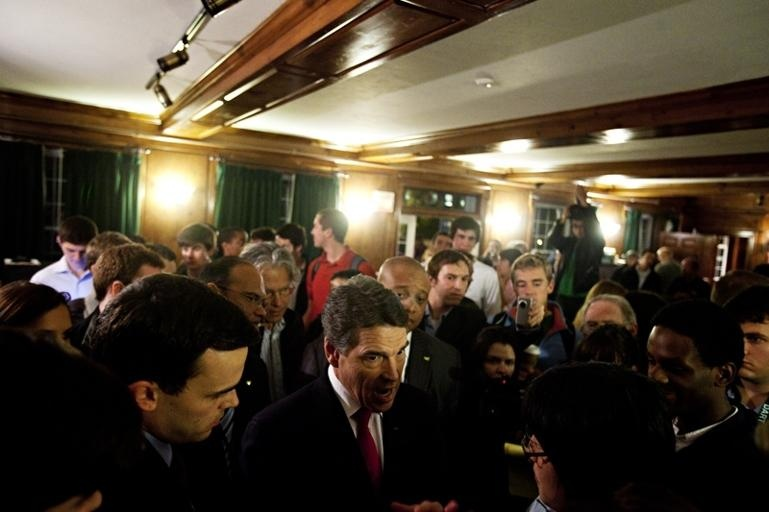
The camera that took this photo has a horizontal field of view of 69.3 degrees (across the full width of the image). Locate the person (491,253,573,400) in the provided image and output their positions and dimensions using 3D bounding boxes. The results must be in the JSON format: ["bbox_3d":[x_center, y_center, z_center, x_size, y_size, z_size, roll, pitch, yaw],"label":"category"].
[{"bbox_3d":[1.167,0.657,4.413,0.680,1.231,0.663,-1,-5,13],"label":"person"}]

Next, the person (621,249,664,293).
[{"bbox_3d":[4.255,0.274,9.168,0.520,0.333,0.992,11,43,26],"label":"person"}]

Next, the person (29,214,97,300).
[{"bbox_3d":[-2.886,0.042,5.266,0.853,0.781,0.446,0,17,-25],"label":"person"}]

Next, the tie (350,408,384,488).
[{"bbox_3d":[-0.098,0.975,2.841,0.146,0.381,0.080,3,-31,-26],"label":"tie"}]

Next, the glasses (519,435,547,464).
[{"bbox_3d":[0.664,0.873,2.502,0.125,0.034,0.117,10,-6,3],"label":"glasses"}]
